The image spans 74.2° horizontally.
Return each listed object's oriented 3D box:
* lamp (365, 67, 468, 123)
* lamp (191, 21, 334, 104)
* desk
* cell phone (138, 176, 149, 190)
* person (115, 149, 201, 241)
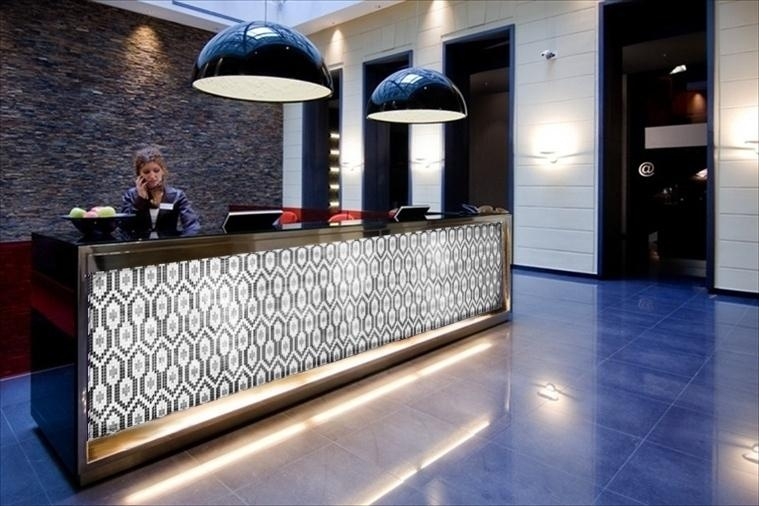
[{"bbox_3d":[0.454,-1.662,5.408,0.911,0.360,0.880,-1,4,-5],"label":"lamp"},{"bbox_3d":[-0.928,-1.724,4.541,1.191,0.505,1.128,2,4,8],"label":"lamp"},{"bbox_3d":[-0.634,0.465,5.416,1.391,1.599,5.279,11,13,44],"label":"desk"},{"bbox_3d":[-2.404,-0.717,5.089,0.082,0.122,0.176,0,10,0],"label":"cell phone"},{"bbox_3d":[-2.272,-0.542,5.117,0.751,0.936,0.852,-3,16,-36],"label":"person"}]
